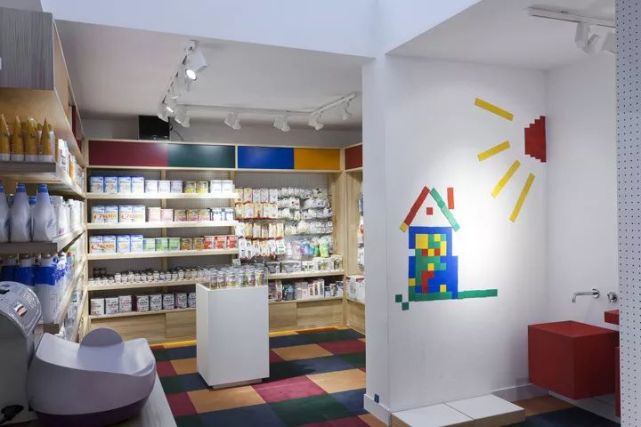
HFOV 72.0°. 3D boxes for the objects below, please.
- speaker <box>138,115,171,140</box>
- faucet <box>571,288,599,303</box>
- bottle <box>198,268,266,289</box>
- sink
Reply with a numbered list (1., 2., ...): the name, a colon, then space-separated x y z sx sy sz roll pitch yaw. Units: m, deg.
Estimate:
1. speaker: -2.697 -1.390 7.139 0.434 0.360 0.136 0 1 -19
2. faucet: 2.829 0.878 4.837 0.335 0.168 0.187 -2 -2 -18
3. bottle: -1.122 0.806 5.652 0.800 0.213 0.443 -2 2 -14
4. sink: 2.696 1.417 4.898 0.691 0.850 0.939 2 -3 -25
